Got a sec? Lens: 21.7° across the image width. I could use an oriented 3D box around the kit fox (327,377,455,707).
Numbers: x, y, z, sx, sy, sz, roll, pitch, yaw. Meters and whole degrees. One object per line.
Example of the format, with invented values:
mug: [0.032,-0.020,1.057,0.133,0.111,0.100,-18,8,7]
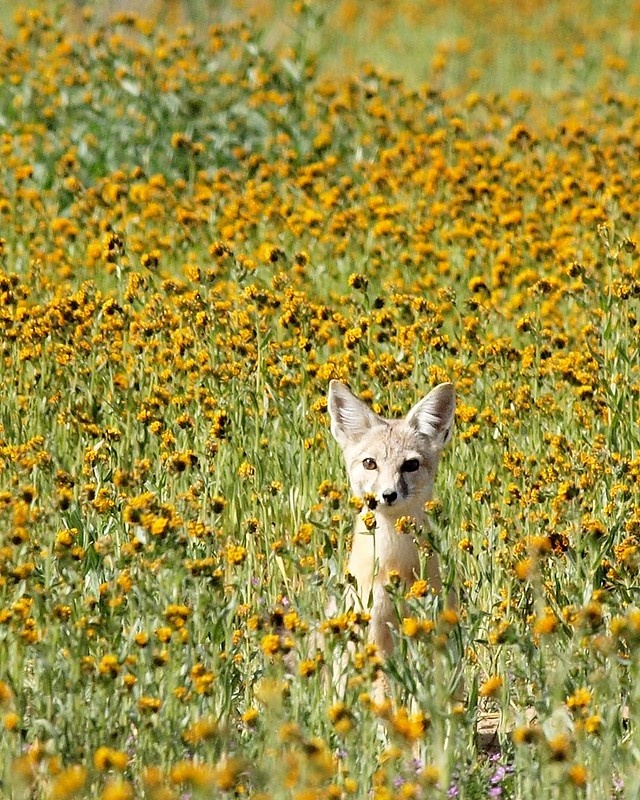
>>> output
kit fox: [0.293,0.462,7.081,0.392,1.274,1.147,0,13,1]
